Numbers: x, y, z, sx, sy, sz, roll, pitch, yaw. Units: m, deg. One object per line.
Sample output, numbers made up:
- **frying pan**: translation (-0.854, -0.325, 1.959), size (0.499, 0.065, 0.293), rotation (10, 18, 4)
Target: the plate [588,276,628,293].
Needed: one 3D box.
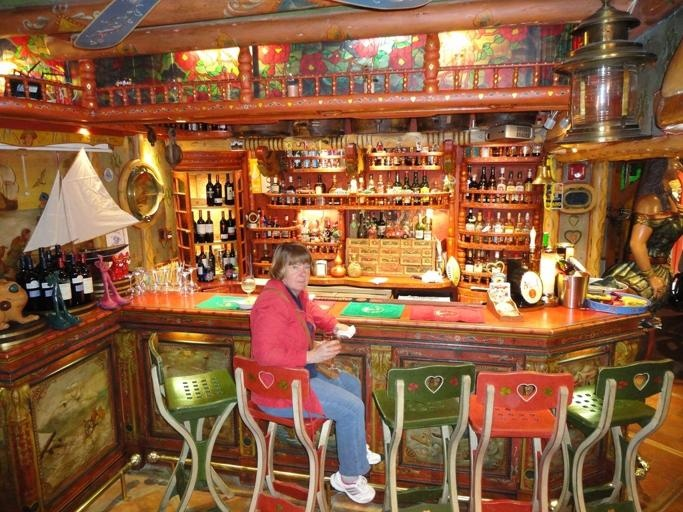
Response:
- **plate**: translation (2.498, 0.285, 4.801), size (0.287, 0.121, 0.519), rotation (4, 10, 44)

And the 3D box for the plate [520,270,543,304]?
- **plate**: translation (1.693, 0.277, 4.510), size (0.234, 0.294, 0.125), rotation (-4, 9, 1)

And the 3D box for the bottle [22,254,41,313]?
- **bottle**: translation (-2.622, 0.231, 4.311), size (0.120, 0.480, 0.150), rotation (-11, 11, -35)

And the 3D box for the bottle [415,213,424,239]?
- **bottle**: translation (1.215, -0.471, 7.906), size (0.132, 0.372, 0.269), rotation (-3, 8, 9)

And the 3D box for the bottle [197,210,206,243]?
- **bottle**: translation (-1.978, -0.375, 7.164), size (0.139, 0.353, 0.206), rotation (-5, 9, -6)

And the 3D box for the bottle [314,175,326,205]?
- **bottle**: translation (-0.324, -1.045, 7.975), size (0.148, 0.469, 0.363), rotation (-4, 8, 2)

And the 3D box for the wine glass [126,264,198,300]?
- **wine glass**: translation (-1.846, 0.242, 5.275), size (0.426, 0.192, 0.518), rotation (2, 7, 15)

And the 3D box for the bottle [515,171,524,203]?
- **bottle**: translation (2.643, -1.040, 7.537), size (0.113, 0.465, 0.312), rotation (-1, 9, 20)

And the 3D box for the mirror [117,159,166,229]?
- **mirror**: translation (-2.538, -0.812, 6.495), size (0.101, 0.857, 0.807), rotation (-2, 8, 16)

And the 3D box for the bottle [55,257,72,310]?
- **bottle**: translation (-2.384, 0.222, 4.388), size (0.090, 0.448, 0.223), rotation (-9, 10, -28)

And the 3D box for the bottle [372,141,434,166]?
- **bottle**: translation (0.910, -1.481, 7.479), size (0.974, 0.296, 0.444), rotation (-2, 8, 8)

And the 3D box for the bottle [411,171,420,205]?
- **bottle**: translation (1.136, -1.052, 7.760), size (0.124, 0.503, 0.459), rotation (-3, 8, 8)

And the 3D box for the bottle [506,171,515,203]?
- **bottle**: translation (2.533, -1.046, 7.574), size (0.111, 0.468, 0.368), rotation (-1, 9, 18)

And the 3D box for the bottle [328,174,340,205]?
- **bottle**: translation (-0.114, -1.053, 7.982), size (0.169, 0.466, 0.433), rotation (-4, 8, 0)

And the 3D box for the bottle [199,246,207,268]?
- **bottle**: translation (-1.975, 0.003, 7.177), size (0.115, 0.289, 0.262), rotation (-6, 9, -15)

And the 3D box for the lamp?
- **lamp**: translation (1.387, -0.972, 2.673), size (0.461, 0.729, 0.235), rotation (-1, 10, 20)

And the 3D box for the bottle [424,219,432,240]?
- **bottle**: translation (1.329, -0.415, 7.830), size (0.114, 0.290, 0.194), rotation (-3, 9, 9)

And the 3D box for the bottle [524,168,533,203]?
- **bottle**: translation (2.771, -1.047, 7.518), size (0.128, 0.505, 0.390), rotation (-1, 9, 20)

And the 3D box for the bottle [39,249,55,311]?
- **bottle**: translation (-2.530, 0.200, 4.361), size (0.108, 0.514, 0.240), rotation (-9, 10, -29)

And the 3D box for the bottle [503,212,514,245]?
- **bottle**: translation (2.537, -0.431, 7.679), size (0.167, 0.468, 0.442), rotation (-1, 8, 18)

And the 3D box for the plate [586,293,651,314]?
- **plate**: translation (2.439, 0.417, 4.485), size (0.505, 0.134, 0.385), rotation (-6, 8, -19)

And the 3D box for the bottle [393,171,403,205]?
- **bottle**: translation (0.865, -1.042, 7.783), size (0.124, 0.482, 0.394), rotation (-3, 8, 7)

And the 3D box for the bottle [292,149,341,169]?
- **bottle**: translation (-0.401, -1.481, 7.784), size (0.815, 0.305, 0.301), rotation (-4, 8, -3)

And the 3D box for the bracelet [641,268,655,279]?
- **bracelet**: translation (3.177, 0.179, 5.273), size (0.104, 0.068, 0.101), rotation (-2, 2, 26)
